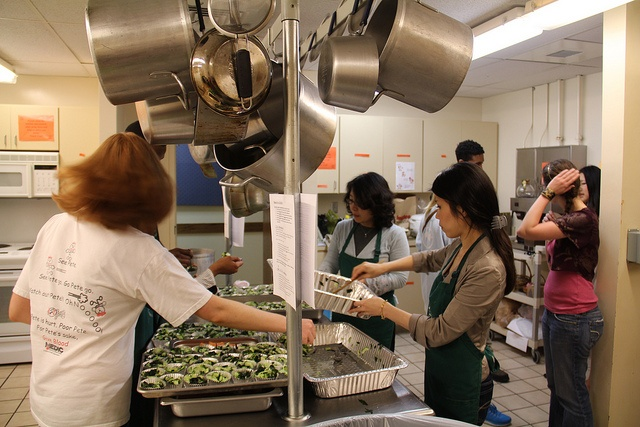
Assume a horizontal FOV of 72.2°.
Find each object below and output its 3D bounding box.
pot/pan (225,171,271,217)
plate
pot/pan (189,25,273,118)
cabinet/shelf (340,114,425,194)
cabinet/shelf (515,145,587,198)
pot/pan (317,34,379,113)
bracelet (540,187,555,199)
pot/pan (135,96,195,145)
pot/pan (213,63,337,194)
[{"bbox_3d":[-0.464,-0.095,2.625,0.206,0.281,0.297,8,15,23],"label":"pot/pan"},{"bbox_3d":[0.130,0.455,2.562,0.243,0.095,0.442,32,-19,-29],"label":"plate"},{"bbox_3d":[-0.358,-0.571,1.771,0.293,0.328,0.151,0,2,12],"label":"pot/pan"},{"bbox_3d":[0.688,-0.709,5.044,1.077,0.910,0.347,0,6,-10],"label":"cabinet/shelf"},{"bbox_3d":[2.256,-0.415,4.255,0.227,0.624,0.715,3,-5,-22],"label":"cabinet/shelf"},{"bbox_3d":[0.121,-0.610,1.885,0.257,0.318,0.161,-1,2,-1],"label":"pot/pan"},{"bbox_3d":[1.656,-0.141,3.207,0.067,0.077,0.088,-33,-11,17],"label":"bracelet"},{"bbox_3d":[-0.683,-0.397,1.956,0.181,0.230,0.194,-15,9,-22],"label":"pot/pan"},{"bbox_3d":[-0.165,-0.334,1.987,0.217,0.651,0.587,6,-17,-33],"label":"pot/pan"}]
